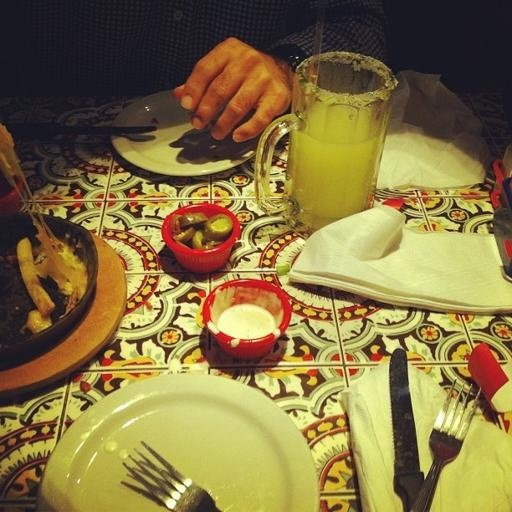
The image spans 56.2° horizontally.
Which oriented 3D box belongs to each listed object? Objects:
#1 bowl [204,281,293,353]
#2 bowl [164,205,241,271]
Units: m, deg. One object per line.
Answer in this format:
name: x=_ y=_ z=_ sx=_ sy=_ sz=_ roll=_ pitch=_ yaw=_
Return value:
bowl: x=-0.015 y=0.072 z=0.685 sx=0.124 sy=0.047 sz=0.110 roll=0 pitch=46 yaw=-2
bowl: x=-0.088 y=-0.015 z=0.772 sx=0.124 sy=0.053 sz=0.110 roll=-1 pitch=46 yaw=-2
